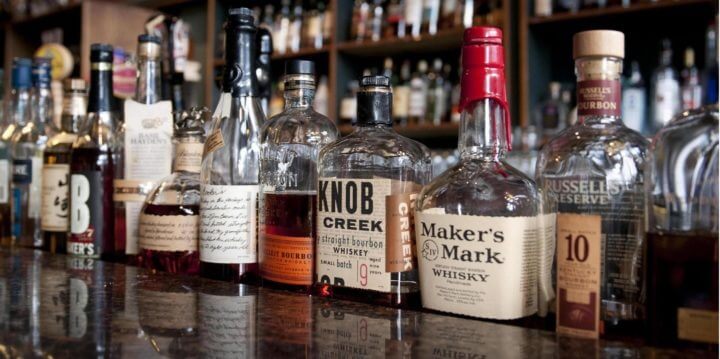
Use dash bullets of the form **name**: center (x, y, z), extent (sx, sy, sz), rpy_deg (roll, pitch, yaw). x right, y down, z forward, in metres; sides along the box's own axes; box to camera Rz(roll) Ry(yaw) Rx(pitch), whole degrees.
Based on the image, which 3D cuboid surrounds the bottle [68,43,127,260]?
- **bottle**: center (-0.703, -0.075, 1.870), extent (0.121, 0.582, 0.077), rpy_deg (2, 0, -15)
